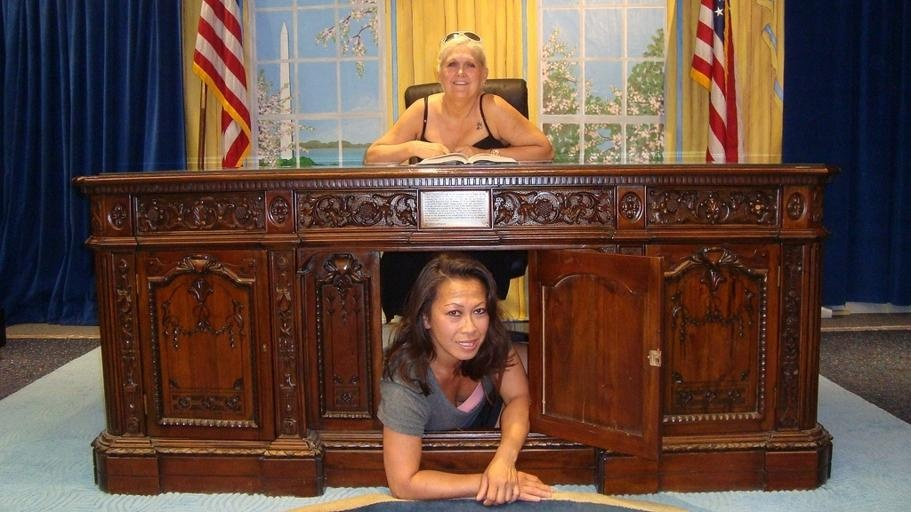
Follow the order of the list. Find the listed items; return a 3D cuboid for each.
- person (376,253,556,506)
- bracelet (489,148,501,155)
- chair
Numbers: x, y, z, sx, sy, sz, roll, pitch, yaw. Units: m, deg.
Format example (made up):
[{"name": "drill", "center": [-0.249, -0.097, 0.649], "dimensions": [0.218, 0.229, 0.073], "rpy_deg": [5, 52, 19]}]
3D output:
[{"name": "person", "center": [0.002, 0.815, 6.189], "dimensions": [1.076, 1.614, 0.752], "rpy_deg": [-2, 8, -5]}, {"name": "bracelet", "center": [0.305, -0.808, 6.852], "dimensions": [0.059, 0.036, 0.075], "rpy_deg": [-1, 15, -3]}, {"name": "chair", "center": [0.076, -1.198, 7.759], "dimensions": [0.837, 1.106, 0.929], "rpy_deg": [0, 1, 5]}]
